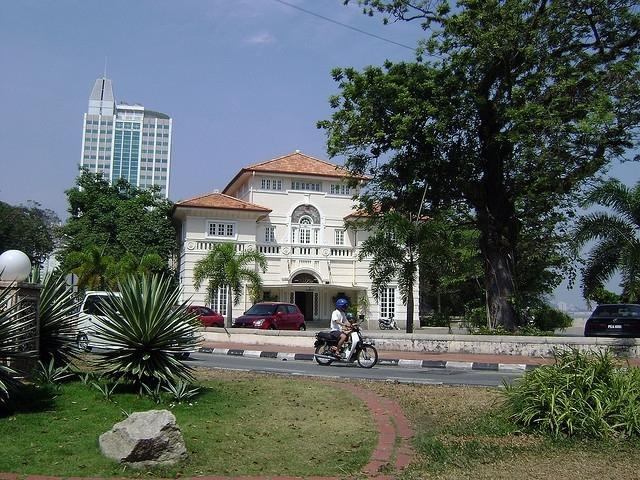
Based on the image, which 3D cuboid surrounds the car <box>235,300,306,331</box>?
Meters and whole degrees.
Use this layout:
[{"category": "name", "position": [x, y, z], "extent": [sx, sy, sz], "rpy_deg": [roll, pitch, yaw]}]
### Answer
[{"category": "car", "position": [-2.297, 3.513, 29.748], "extent": [1.416, 1.125, 2.388], "rpy_deg": [-10, -17, 39]}]

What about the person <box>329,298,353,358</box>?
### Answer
[{"category": "person", "position": [0.589, 2.438, 18.000], "extent": [0.546, 1.588, 1.077], "rpy_deg": [1, -4, 2]}]
